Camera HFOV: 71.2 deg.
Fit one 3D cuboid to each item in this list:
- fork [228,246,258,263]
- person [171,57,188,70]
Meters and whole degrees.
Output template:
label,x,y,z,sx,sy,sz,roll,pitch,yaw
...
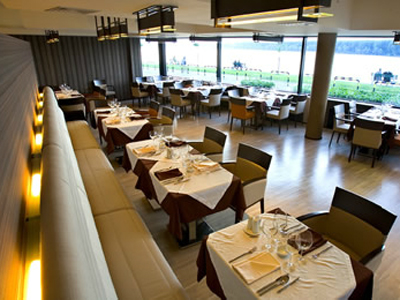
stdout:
label,x,y,z,sx,sy,sz,roll,pitch,yaw
fork,0.380,0.929,2.471,0.304,0.032,0.049,-13,22,-27
person,-0.934,-3.990,12.820,0.671,0.251,0.706,13,31,-5
